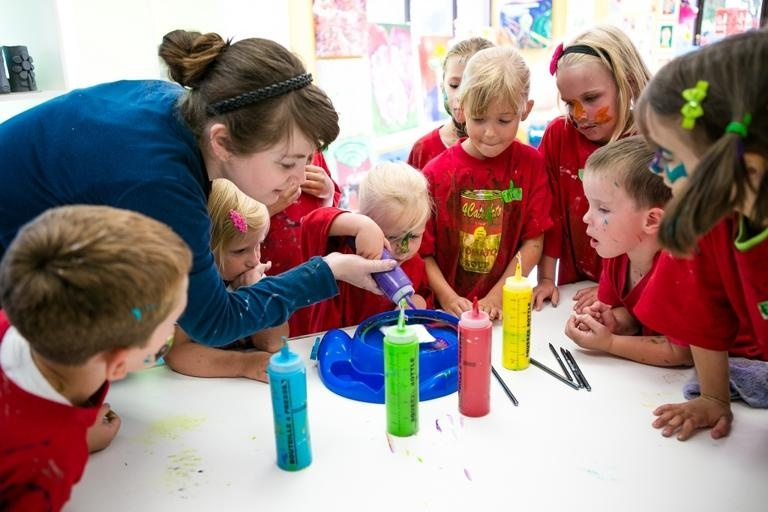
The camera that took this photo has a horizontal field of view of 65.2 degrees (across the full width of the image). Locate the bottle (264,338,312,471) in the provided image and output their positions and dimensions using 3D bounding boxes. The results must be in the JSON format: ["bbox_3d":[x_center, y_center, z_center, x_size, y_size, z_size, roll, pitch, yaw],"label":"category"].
[{"bbox_3d":[-0.231,0.357,1.456,0.098,0.314,0.095,-5,16,1],"label":"bottle"}]

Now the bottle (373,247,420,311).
[{"bbox_3d":[0.030,0.088,1.826,0.070,0.238,0.065,-38,-9,-7],"label":"bottle"}]
